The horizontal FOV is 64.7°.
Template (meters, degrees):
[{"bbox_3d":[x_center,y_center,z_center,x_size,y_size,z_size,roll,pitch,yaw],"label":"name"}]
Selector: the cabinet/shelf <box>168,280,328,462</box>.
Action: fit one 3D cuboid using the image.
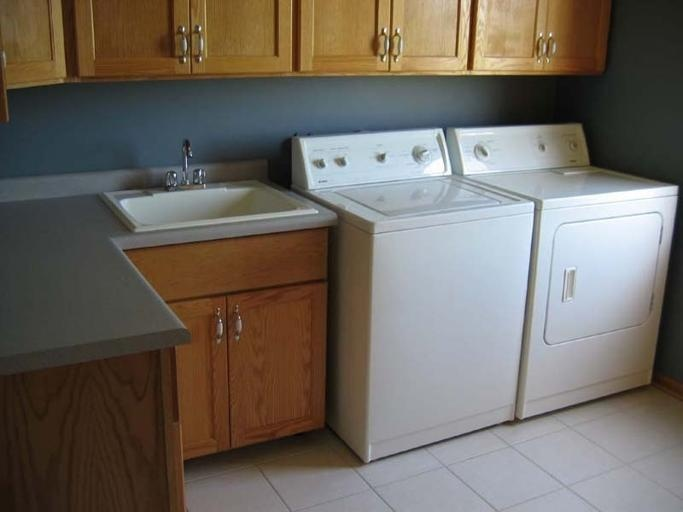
[{"bbox_3d":[-0.391,0.445,2.190,0.637,0.647,0.333,-8,16,-28],"label":"cabinet/shelf"}]
